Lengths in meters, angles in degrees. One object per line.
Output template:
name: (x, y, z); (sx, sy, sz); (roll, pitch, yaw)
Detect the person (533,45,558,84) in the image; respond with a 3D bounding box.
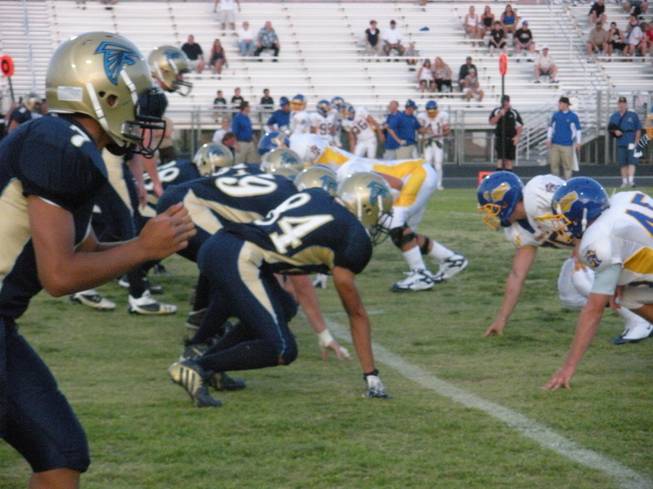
person: (4.859, -4.025, 25.201); (0.602, 0.696, 0.701); (-9, 23, -17)

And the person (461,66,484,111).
person: (3.069, -3.333, 23.672); (0.461, 0.722, 0.511); (0, 6, -2)

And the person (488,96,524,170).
person: (3.018, -1.878, 19.007); (0.518, 1.262, 0.895); (2, 7, 8)

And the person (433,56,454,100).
person: (2.455, -3.567, 23.855); (0.409, 0.721, 0.481); (1, 6, 2)

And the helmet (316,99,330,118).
helmet: (-0.096, -2.016, 16.478); (0.243, 0.230, 0.184); (-17, 54, -17)

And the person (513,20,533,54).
person: (4.558, -4.782, 26.033); (0.449, 0.679, 0.539); (2, 7, 8)

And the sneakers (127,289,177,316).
sneakers: (-1.597, 0.534, 10.301); (0.471, 0.200, 0.187); (0, 0, -10)

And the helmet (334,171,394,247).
helmet: (0.338, -0.320, 8.574); (0.581, 0.533, 0.446); (-3, 21, -24)

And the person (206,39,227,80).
person: (-2.367, -4.062, 24.496); (0.392, 0.780, 0.753); (0, 6, -5)

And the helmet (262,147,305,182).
helmet: (-0.408, -0.744, 10.149); (0.370, 0.291, 0.277); (-27, 53, -34)

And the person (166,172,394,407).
person: (-0.327, 0.393, 8.560); (1.737, 1.460, 1.077); (4, 3, -17)

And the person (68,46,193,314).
person: (-1.775, -0.493, 10.228); (0.776, 2.223, 1.047); (-7, 11, -38)

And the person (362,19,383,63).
person: (1.100, -4.772, 26.249); (0.399, 0.795, 0.837); (1, 6, 3)

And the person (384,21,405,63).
person: (1.523, -4.692, 25.963); (0.562, 0.850, 0.498); (0, 24, -7)

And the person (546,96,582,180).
person: (4.076, -1.821, 19.380); (0.526, 1.449, 1.707); (2, 7, 11)

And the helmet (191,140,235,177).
helmet: (-0.997, -0.773, 10.286); (0.347, 0.271, 0.264); (32, 29, 17)

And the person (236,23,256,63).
person: (-1.799, -4.599, 25.391); (0.418, 0.833, 0.879); (0, 6, -4)

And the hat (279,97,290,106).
hat: (-0.704, -2.355, 18.527); (0.146, 0.101, 0.193); (3, 55, 3)

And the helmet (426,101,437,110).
helmet: (1.812, -2.371, 19.408); (0.152, 0.137, 0.247); (4, 22, -2)

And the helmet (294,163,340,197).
helmet: (-0.055, -0.541, 9.005); (0.294, 0.222, 0.269); (-13, 47, -47)

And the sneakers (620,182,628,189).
sneakers: (5.172, -1.029, 19.615); (0.157, 0.058, 0.111); (-1, 8, 4)

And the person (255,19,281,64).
person: (-1.327, -4.586, 25.453); (0.552, 0.836, 0.483); (-1, 21, -12)
